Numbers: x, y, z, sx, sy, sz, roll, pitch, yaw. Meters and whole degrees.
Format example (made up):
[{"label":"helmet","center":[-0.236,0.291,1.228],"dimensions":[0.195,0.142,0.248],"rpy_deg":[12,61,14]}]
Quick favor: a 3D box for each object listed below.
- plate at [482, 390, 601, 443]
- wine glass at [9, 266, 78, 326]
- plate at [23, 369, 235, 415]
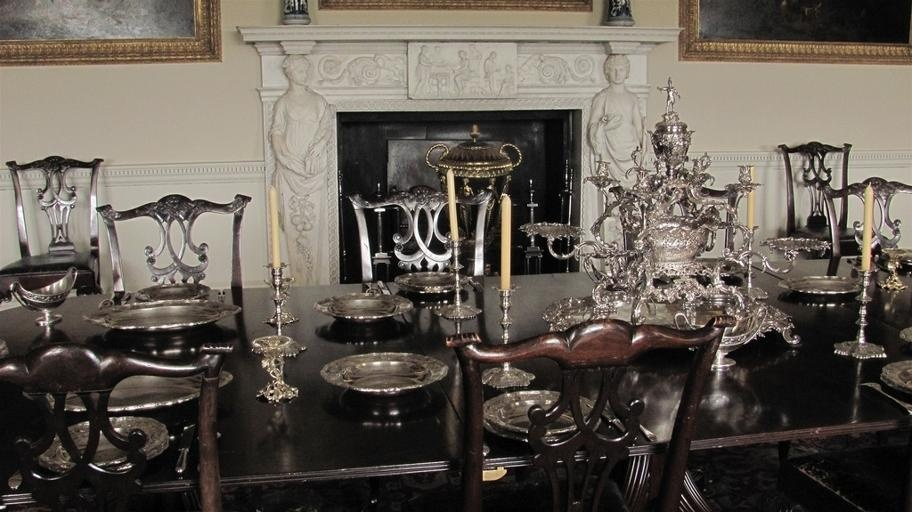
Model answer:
[{"label":"plate","center":[0.297,0.595,2.724],"dimensions":[0.385,0.132,0.273],"rpy_deg":[-1,6,23]},{"label":"wine glass","center":[-2.101,0.206,3.693],"dimensions":[0.258,0.204,0.143],"rpy_deg":[0,22,-7]},{"label":"plate","center":[-1.191,0.532,2.780],"dimensions":[0.353,0.043,0.346],"rpy_deg":[-1,4,-43]}]
